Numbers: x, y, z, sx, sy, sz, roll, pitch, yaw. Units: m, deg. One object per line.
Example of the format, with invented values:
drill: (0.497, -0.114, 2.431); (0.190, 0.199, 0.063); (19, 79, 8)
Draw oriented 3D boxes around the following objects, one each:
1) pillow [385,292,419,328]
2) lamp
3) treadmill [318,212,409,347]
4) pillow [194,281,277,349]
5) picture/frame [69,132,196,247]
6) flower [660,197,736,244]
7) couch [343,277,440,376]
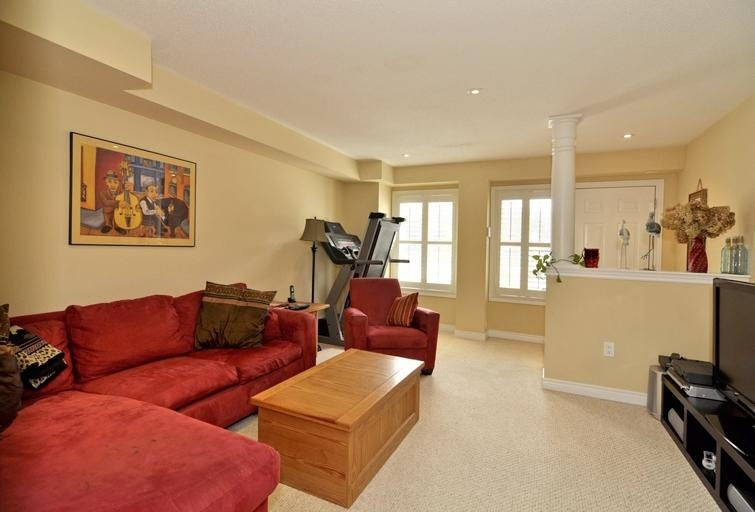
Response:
pillow: (0.295, 0.617, 5.302); (0.121, 0.359, 0.388); (27, -15, -26)
lamp: (-0.842, 0.217, 6.168); (0.464, 1.296, 0.349); (4, 1, 27)
treadmill: (-0.366, 0.410, 6.531); (1.079, 1.896, 0.986); (3, 2, -35)
pillow: (-1.356, 0.551, 4.299); (0.611, 0.559, 0.179); (9, -26, -15)
picture/frame: (-2.231, -0.551, 4.297); (1.341, 0.927, 0.023); (8, 13, 11)
flower: (3.022, -0.325, 4.418); (0.577, 0.417, 0.238); (2, 1, 30)
couch: (0.057, 0.806, 5.406); (1.059, 0.971, 0.996); (2, 2, -18)
